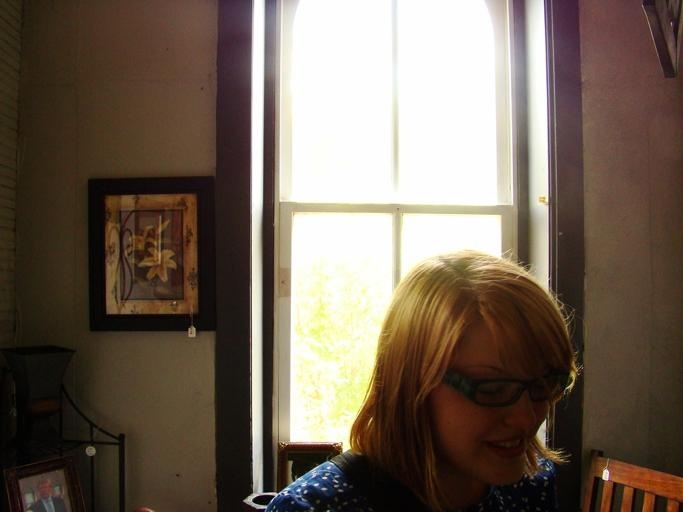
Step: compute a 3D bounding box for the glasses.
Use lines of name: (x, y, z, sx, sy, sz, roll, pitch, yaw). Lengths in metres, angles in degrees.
glasses: (0.482, 0.370, 1.971, 0.394, 0.103, 0.065, 0, 0, -14)
